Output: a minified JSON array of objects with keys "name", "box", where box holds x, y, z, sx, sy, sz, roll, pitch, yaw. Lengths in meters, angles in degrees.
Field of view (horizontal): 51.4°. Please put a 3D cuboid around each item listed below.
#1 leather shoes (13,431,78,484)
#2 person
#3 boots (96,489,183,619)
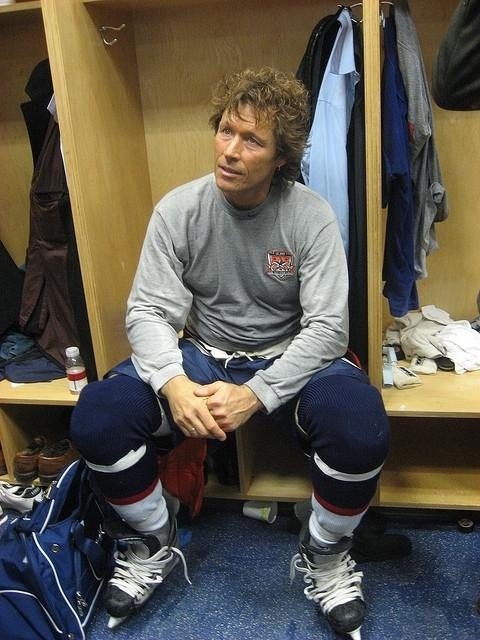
[{"name":"leather shoes","box":[-0.631,0.430,1.707,0.166,0.113,0.292,2,12,8]},{"name":"person","box":[-0.005,0.047,1.141,0.659,1.214,0.481,0,11,16]},{"name":"boots","box":[-0.221,0.530,1.207,0.099,0.143,0.312,17,45,7]}]
